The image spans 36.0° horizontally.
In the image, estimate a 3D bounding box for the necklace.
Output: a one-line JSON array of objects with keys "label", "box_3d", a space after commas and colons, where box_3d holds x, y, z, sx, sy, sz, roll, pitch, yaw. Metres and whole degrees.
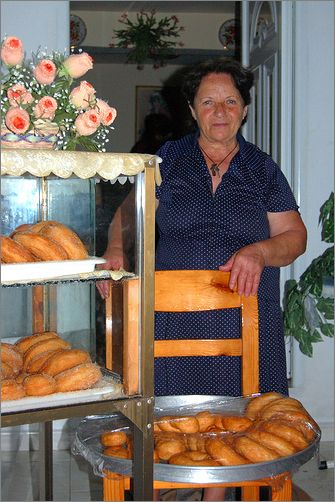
[{"label": "necklace", "box_3d": [0.149, -0.258, 1.492, 0.091, 0.107, 0.014, 2, -28, 2]}]

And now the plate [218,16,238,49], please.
[{"label": "plate", "box_3d": [0.625, -2.299, 5.481, 0.175, 0.293, 0.209, -5, 4, -4]}]
